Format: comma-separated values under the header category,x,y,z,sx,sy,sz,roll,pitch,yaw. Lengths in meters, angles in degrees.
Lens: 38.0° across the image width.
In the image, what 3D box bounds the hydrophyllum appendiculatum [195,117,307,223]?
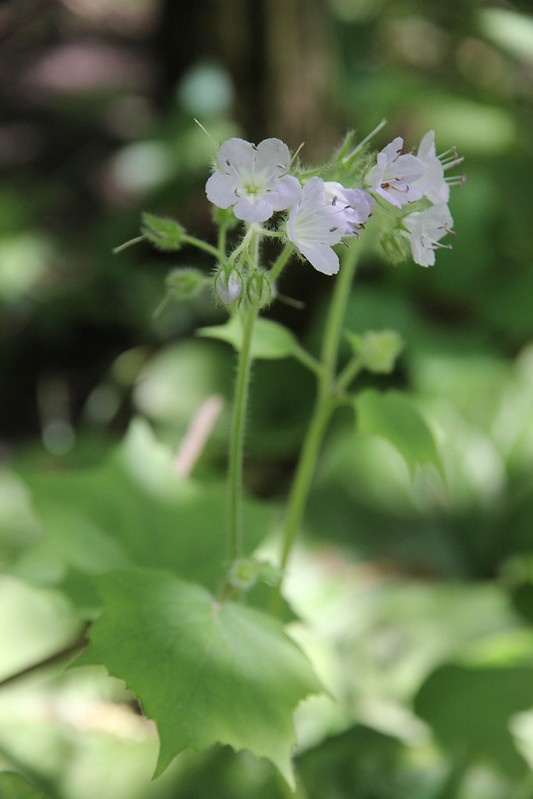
category,x,y,z,sx,sy,sz,roll,pitch,yaw
hydrophyllum appendiculatum,-0.017,-0.248,0.873,0.088,0.086,0.031,-7,64,6

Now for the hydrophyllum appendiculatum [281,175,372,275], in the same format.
category,x,y,z,sx,sy,sz,roll,pitch,yaw
hydrophyllum appendiculatum,0.071,-0.199,0.879,0.067,0.099,0.089,18,34,23
